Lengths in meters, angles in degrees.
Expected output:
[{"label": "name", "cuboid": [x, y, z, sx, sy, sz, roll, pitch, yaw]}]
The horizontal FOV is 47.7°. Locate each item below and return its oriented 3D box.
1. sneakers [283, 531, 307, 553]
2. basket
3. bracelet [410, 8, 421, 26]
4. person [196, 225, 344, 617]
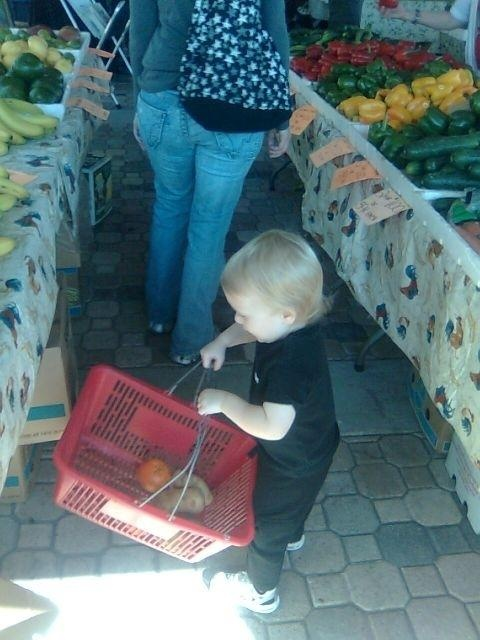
[{"label": "sneakers", "cuboid": [0.192, 0.774, 1.855, 0.094, 0.041, 0.116, 1, 15, 3]}, {"label": "basket", "cuboid": [-0.256, 0.433, 1.528, 0.503, 0.482, 0.365, 26, 52, -15]}, {"label": "bracelet", "cuboid": [1.179, -2.032, 3.658, 0.067, 0.090, 0.099, 2, 24, 12]}, {"label": "person", "cuboid": [0.081, 0.343, 1.494, 0.329, 1.159, 0.311, 17, 36, 21]}]
